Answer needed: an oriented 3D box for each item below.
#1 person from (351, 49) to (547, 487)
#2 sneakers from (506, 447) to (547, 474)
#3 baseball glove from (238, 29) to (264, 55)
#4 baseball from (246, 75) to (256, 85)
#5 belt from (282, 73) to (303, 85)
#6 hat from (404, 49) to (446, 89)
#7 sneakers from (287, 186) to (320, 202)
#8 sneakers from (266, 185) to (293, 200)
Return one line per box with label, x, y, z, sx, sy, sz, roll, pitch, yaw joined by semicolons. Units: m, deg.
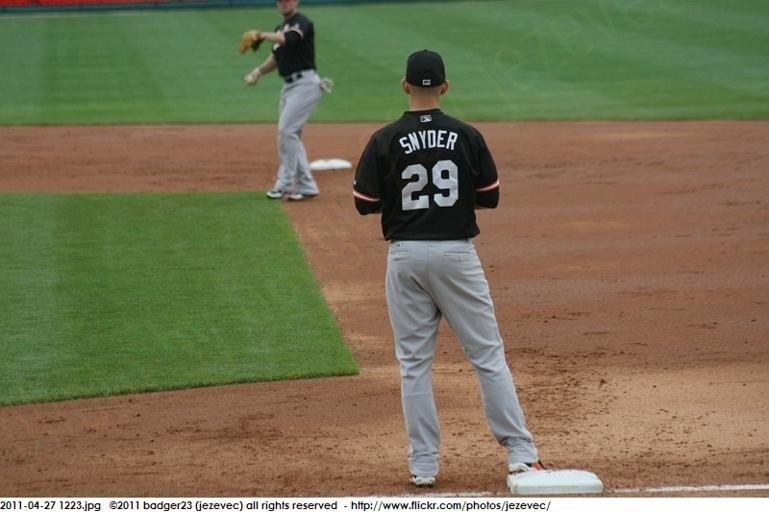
person;0.473;0.122;12.412;1.233;3.703;1.237;-7;18;-12
sneakers;1.232;1.799;12.452;0.272;0.097;0.244;-2;8;5
baseball glove;-1.516;-2.457;16.165;0.271;0.260;0.703;-4;15;-4
baseball;-1.538;-2.022;16.289;0.102;0.117;0.057;-8;40;17
belt;-1.046;-2.064;16.423;0.207;0.130;0.054;-2;18;0
hat;0.364;-1.676;12.520;0.294;0.208;0.380;1;26;4
sneakers;-0.965;-0.717;16.976;0.424;0.145;0.137;-4;7;-12
sneakers;-1.221;-0.739;16.829;0.390;0.145;0.122;2;14;2
